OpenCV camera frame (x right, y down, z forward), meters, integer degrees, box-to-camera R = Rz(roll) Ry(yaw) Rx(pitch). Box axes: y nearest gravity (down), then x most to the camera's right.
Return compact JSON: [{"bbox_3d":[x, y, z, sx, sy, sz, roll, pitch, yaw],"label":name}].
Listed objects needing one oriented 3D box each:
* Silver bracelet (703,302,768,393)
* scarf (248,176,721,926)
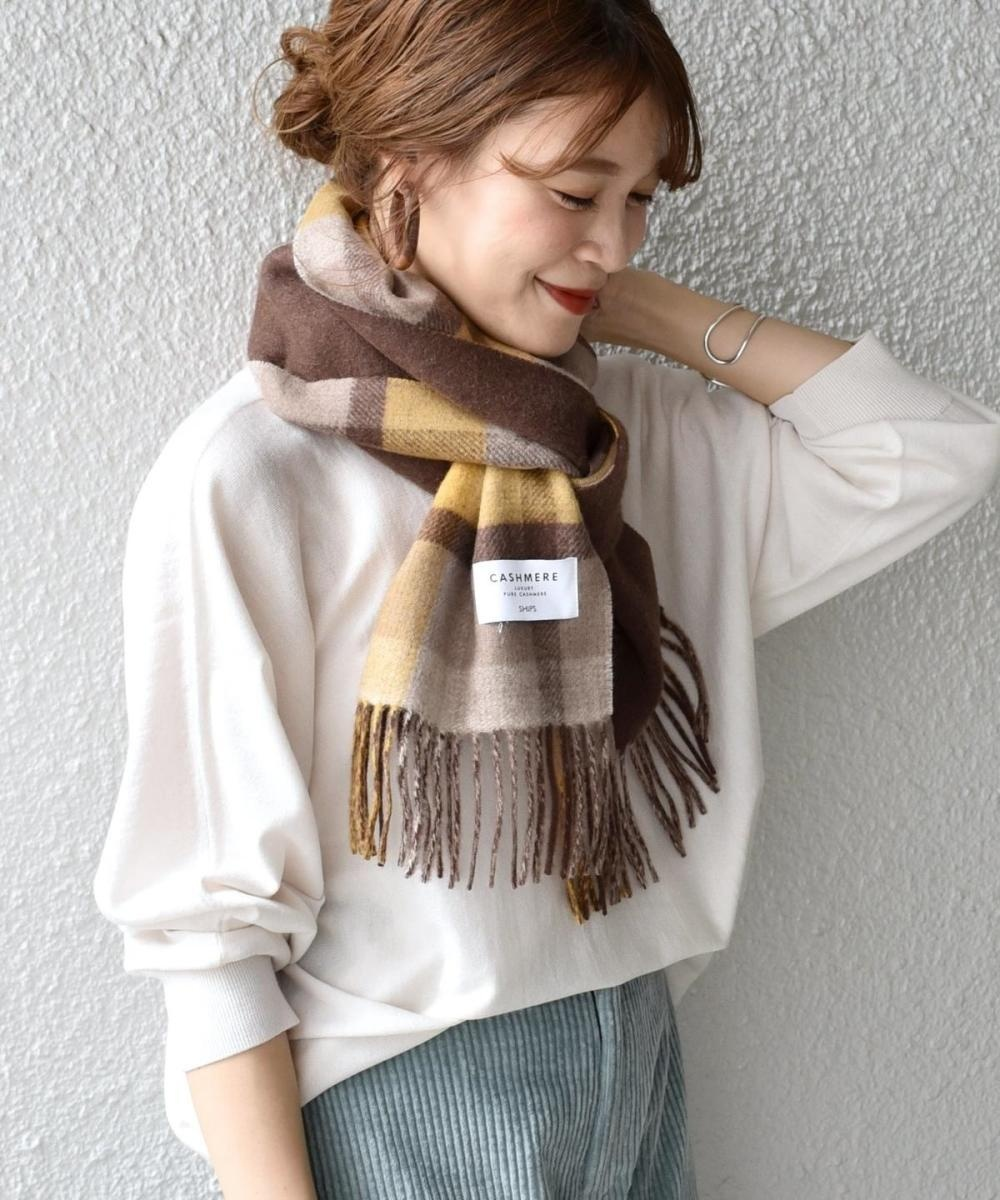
[{"bbox_3d":[0.239,-0.263,1.342,0.050,0.016,0.073,31,90,18],"label":"Silver bracelet"},{"bbox_3d":[-0.078,-0.030,1.175,0.405,0.192,0.609,2,76,-39],"label":"scarf"}]
